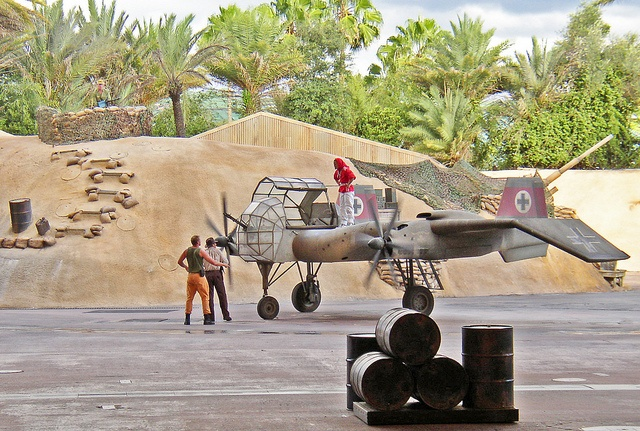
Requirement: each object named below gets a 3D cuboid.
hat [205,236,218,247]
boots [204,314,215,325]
[{"bbox_3d":[-4.637,1.135,37.419,0.337,0.393,0.393,-3,35,-2],"label":"hat"},{"bbox_3d":[-4.625,4.318,36.595,0.559,0.450,0.282,-2,6,-10],"label":"boots"}]
